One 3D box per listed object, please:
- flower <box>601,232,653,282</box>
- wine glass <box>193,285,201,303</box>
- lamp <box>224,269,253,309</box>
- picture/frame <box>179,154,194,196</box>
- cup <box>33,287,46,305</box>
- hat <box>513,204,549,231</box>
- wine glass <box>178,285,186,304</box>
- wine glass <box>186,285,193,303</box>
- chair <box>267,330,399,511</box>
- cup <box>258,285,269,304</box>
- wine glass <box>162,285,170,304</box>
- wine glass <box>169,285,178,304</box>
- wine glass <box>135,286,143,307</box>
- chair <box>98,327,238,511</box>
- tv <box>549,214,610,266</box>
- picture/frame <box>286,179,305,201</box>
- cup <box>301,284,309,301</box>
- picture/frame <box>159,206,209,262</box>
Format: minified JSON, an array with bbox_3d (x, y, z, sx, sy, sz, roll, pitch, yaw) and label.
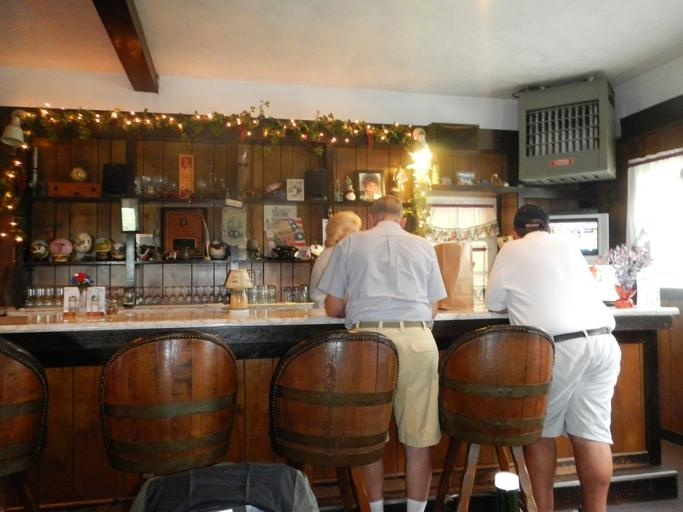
[{"bbox_3d":[2.391,0.013,4.870,0.386,0.457,0.399,-1,4,-37],"label":"flower"},{"bbox_3d":[-1.463,0.394,5.941,0.137,0.141,0.363,-3,4,-14],"label":"wine glass"},{"bbox_3d":[-0.755,0.221,4.206,0.248,0.375,0.250,-1,4,-14],"label":"lamp"},{"bbox_3d":[-1.627,-0.818,6.072,0.147,0.462,0.043,-4,15,-28],"label":"picture/frame"},{"bbox_3d":[-2.811,0.372,5.413,0.149,0.144,0.078,1,4,-13],"label":"cup"},{"bbox_3d":[1.236,-0.246,3.792,0.149,0.126,0.217,-3,12,10],"label":"hat"},{"bbox_3d":[-1.618,0.391,5.944,0.078,0.145,0.275,-3,4,-15],"label":"wine glass"},{"bbox_3d":[-1.558,0.393,5.965,0.072,0.144,0.280,-3,4,-15],"label":"wine glass"},{"bbox_3d":[-0.067,0.849,3.294,0.754,1.182,0.692,1,-2,-15],"label":"chair"},{"bbox_3d":[-0.784,0.382,5.762,0.089,0.166,0.118,-2,3,0],"label":"cup"},{"bbox_3d":[-1.777,0.393,5.918,0.094,0.137,0.307,-3,4,-16],"label":"wine glass"},{"bbox_3d":[-1.714,0.400,5.927,0.140,0.203,0.141,0,-3,-14],"label":"wine glass"},{"bbox_3d":[-2.006,0.387,5.804,0.090,0.146,0.414,-3,4,-19],"label":"wine glass"},{"bbox_3d":[-0.906,0.788,3.104,0.720,0.711,0.724,0,1,-15],"label":"chair"},{"bbox_3d":[2.500,-0.237,6.144,0.606,0.572,0.339,0,23,27],"label":"tv"},{"bbox_3d":[-0.498,-0.693,6.193,0.231,0.315,0.031,0,-12,-8],"label":"picture/frame"},{"bbox_3d":[-0.378,0.386,6.006,0.086,0.159,0.090,-2,3,0],"label":"cup"},{"bbox_3d":[-1.628,-0.212,5.938,0.469,0.581,0.092,9,-12,-18],"label":"picture/frame"}]
